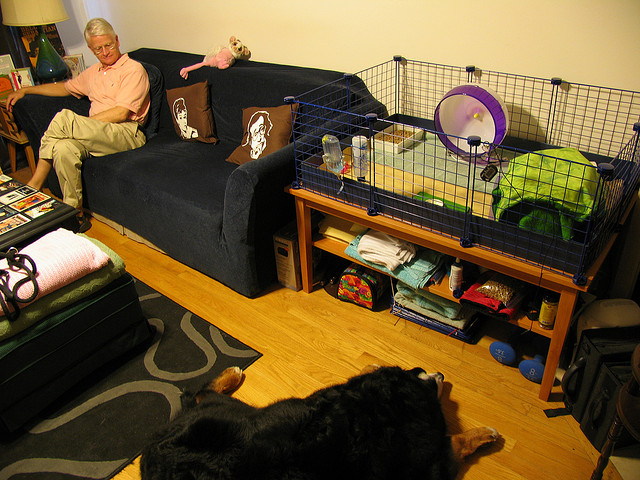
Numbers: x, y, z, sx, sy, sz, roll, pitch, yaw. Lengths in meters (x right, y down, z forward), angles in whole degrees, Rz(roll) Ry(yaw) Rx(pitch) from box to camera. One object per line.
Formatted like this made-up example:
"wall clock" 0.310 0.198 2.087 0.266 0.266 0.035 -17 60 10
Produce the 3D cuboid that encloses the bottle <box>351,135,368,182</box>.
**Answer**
"bottle" 0.208 -0.401 2.386 0.074 0.216 0.109 25 39 35

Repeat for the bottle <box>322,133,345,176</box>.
"bottle" 0.061 -0.424 2.490 0.108 0.206 0.085 3 30 28

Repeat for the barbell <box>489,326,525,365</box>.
"barbell" 0.948 0.481 2.495 0.102 0.151 0.254 11 43 39

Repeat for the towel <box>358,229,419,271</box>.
"towel" 0.334 0.052 2.483 0.287 0.138 0.152 17 36 24

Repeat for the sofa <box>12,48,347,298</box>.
"sofa" -0.752 -0.565 3.402 1.884 1.022 1.305 17 36 24

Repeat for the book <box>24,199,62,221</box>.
"book" -1.532 -0.166 2.741 0.113 0.009 0.191 19 37 26
